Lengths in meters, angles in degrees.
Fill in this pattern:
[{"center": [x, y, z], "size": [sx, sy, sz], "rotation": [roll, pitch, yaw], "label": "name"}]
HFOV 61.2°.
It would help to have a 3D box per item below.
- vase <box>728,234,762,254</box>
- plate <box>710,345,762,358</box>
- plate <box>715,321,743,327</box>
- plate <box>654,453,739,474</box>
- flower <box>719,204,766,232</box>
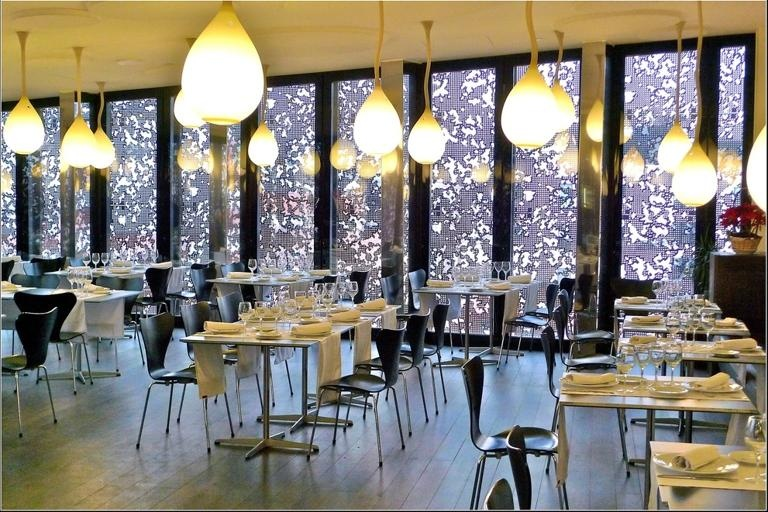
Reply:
[{"center": [4.533, -0.149, 8.193], "size": [0.275, 0.153, 0.280], "rotation": [1, -5, -2], "label": "vase"}, {"center": [3.155, 0.848, 5.720], "size": [0.597, 0.075, 0.242], "rotation": [-1, -3, -16], "label": "plate"}, {"center": [3.670, 0.713, 6.870], "size": [0.170, 0.042, 0.167], "rotation": [-1, 1, 17], "label": "plate"}, {"center": [1.933, 1.279, 3.981], "size": [0.492, 0.120, 0.185], "rotation": [-2, -3, 2], "label": "plate"}, {"center": [4.530, -0.463, 8.144], "size": [0.443, 0.320, 0.424], "rotation": [2, 2, 23], "label": "flower"}]
